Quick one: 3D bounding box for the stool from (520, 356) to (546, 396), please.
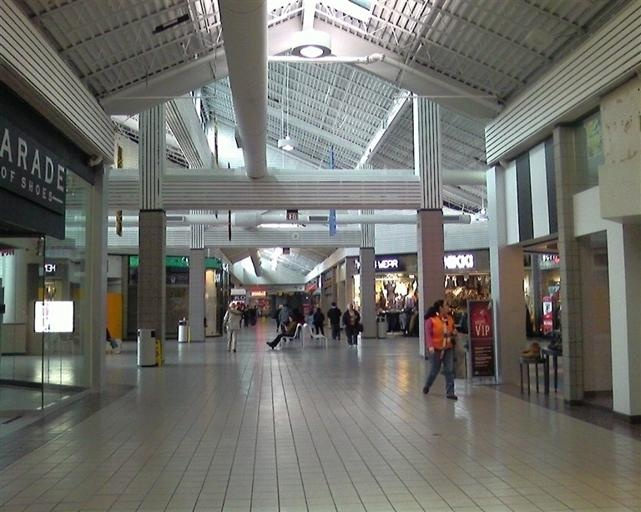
[{"bbox_3d":[4.051,2.267,9.710,0.410,0.552,0.468,-3,-10,-7],"label":"stool"}]

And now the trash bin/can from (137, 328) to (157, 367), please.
[{"bbox_3d":[-4.964,2.649,14.423,0.546,1.048,0.321,1,-5,-17],"label":"trash bin/can"}]

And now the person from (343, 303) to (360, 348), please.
[{"bbox_3d":[1.233,2.806,19.746,0.638,1.875,0.648,-2,17,7],"label":"person"}]

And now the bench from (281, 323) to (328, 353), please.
[{"bbox_3d":[-0.749,3.519,21.383,0.523,0.805,1.354,-6,-5,43],"label":"bench"}]

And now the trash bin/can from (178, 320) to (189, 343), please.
[{"bbox_3d":[-6.316,3.476,23.063,0.410,0.977,1.150,1,-5,-16],"label":"trash bin/can"}]

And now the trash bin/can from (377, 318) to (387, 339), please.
[{"bbox_3d":[2.935,3.513,24.388,0.629,1.199,0.719,0,-4,3],"label":"trash bin/can"}]

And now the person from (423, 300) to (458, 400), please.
[{"bbox_3d":[2.221,1.734,9.417,0.603,1.802,0.588,-1,-5,13],"label":"person"}]
